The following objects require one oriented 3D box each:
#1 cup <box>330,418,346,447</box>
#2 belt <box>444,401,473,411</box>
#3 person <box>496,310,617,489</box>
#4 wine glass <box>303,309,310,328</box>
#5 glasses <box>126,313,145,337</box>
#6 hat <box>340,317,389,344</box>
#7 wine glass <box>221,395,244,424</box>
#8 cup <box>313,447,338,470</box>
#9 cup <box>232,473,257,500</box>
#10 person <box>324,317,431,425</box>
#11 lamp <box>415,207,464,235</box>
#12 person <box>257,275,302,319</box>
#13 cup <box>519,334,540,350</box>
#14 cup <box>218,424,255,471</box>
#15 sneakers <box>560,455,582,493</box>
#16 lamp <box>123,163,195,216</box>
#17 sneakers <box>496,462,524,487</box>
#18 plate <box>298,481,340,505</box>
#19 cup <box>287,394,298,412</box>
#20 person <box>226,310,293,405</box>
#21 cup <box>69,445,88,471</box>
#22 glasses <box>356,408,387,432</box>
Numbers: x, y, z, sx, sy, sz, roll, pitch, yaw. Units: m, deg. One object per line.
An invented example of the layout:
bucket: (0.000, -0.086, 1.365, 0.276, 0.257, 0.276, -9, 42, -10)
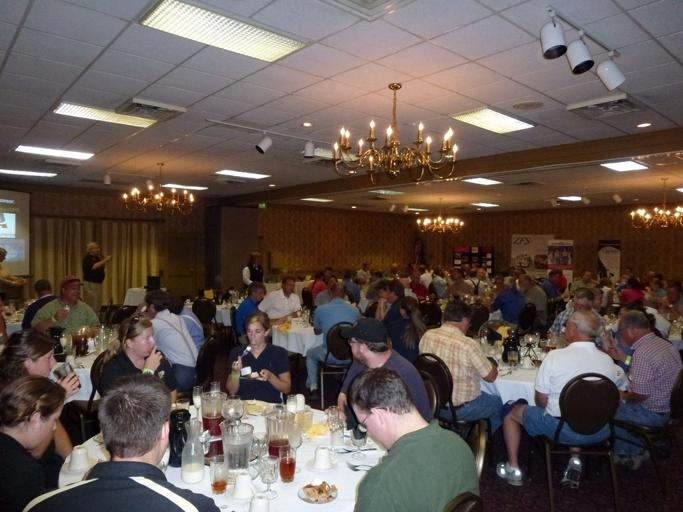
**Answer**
cup: (-0.030, 1.137, 3.180, 0.099, 0.170, 0.178, -2, -2, -2)
belt: (0.999, 1.324, 4.298, 0.128, 0.029, 0.128, 4, -9, -34)
person: (1.976, 1.274, 4.316, 1.017, 1.485, 1.042, 10, -8, -42)
wine glass: (-0.536, 0.944, 7.265, 0.146, 0.138, 0.218, 1, 34, 1)
glasses: (-1.650, 0.559, 3.841, 0.166, 0.047, 0.159, -39, -6, 22)
hat: (0.170, 0.535, 3.563, 0.264, 0.125, 0.180, 17, 6, 16)
wine glass: (-0.686, 0.987, 3.097, 0.146, 0.138, 0.133, -5, -7, 13)
cup: (-0.106, 1.191, 2.867, 0.163, 0.111, 0.095, 2, -6, -16)
cup: (-0.526, 1.222, 2.614, 0.125, 0.106, 0.147, 0, -5, -8)
person: (0.245, 0.873, 3.673, 0.597, 0.825, 0.726, -14, 16, -37)
lamp: (3.575, -1.168, 17.254, 1.205, 0.524, 1.203, 1, 4, -2)
person: (-0.961, 0.758, 7.786, 0.738, 0.832, 0.553, 5, 2, -5)
cup: (2.024, 0.900, 5.172, 0.192, 0.161, 0.180, 0, 2, 0)
cup: (-0.586, 1.072, 2.722, 0.162, 0.249, 0.153, -2, -2, 0)
sneakers: (2.010, 1.884, 4.207, 0.145, 0.278, 0.131, 6, 25, 11)
lamp: (-4.293, -1.332, 10.985, 1.436, 0.846, 1.430, 2, -2, 33)
sneakers: (1.482, 1.911, 4.263, 0.122, 0.107, 0.246, -1, 5, -13)
plate: (-0.130, 1.263, 2.628, 0.210, 0.081, 0.172, -1, -3, -22)
cup: (-0.374, 1.059, 3.528, 0.103, 0.152, 0.103, -1, -2, 0)
person: (-0.716, 0.860, 4.106, 0.523, 0.781, 0.621, -2, -2, -12)
cup: (-1.543, 1.192, 2.875, 0.116, 0.082, 0.111, 0, -7, 0)
glasses: (0.139, 0.853, 2.541, 0.153, 0.073, 0.179, 0, -12, -1)
